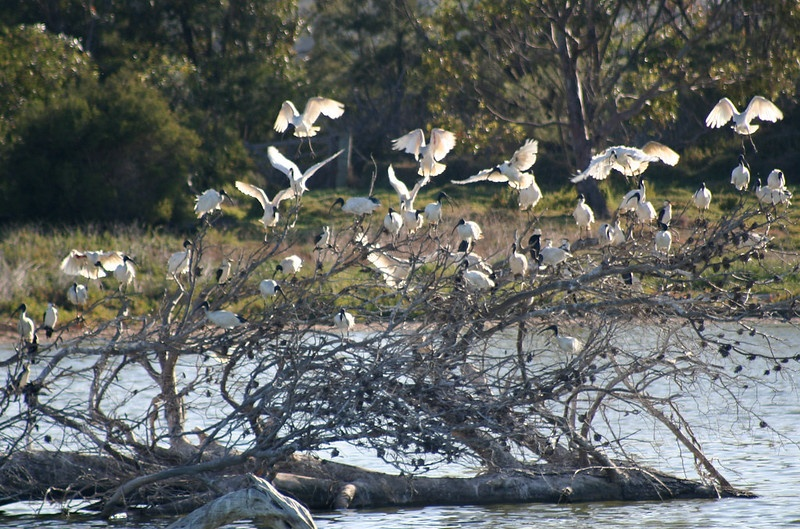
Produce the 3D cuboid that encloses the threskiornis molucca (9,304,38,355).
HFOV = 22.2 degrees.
[{"bbox_3d":[-8.644,1.478,46.914,0.433,1.366,1.176,-3,-13,-12],"label":"threskiornis molucca"}]

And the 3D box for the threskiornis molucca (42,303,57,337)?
[{"bbox_3d":[-8.188,1.295,47.296,0.298,0.868,0.597,-2,-13,-16],"label":"threskiornis molucca"}]
